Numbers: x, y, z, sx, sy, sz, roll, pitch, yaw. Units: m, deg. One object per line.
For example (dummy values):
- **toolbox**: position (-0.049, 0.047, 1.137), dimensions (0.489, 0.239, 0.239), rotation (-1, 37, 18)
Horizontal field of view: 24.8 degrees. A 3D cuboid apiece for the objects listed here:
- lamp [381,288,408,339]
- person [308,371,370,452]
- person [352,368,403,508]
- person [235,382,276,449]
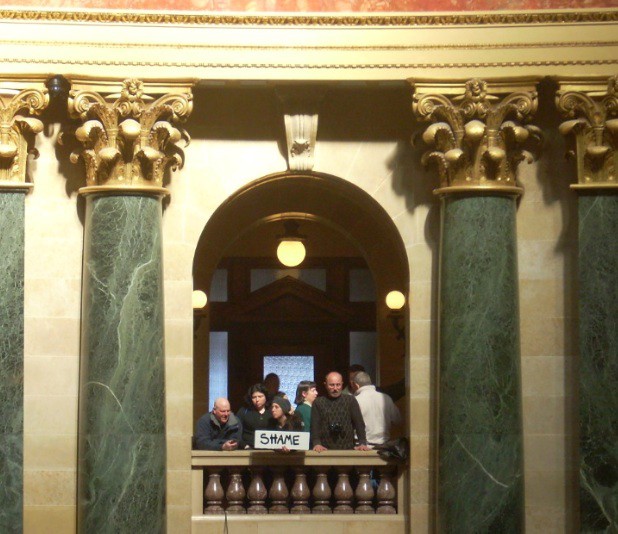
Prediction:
- **lamp**: position (1.263, 0.708, 20.323), dimensions (0.300, 0.694, 0.281), rotation (3, 6, 0)
- **person**: position (0.299, 1.765, 16.859), dimensions (0.616, 1.040, 0.529), rotation (-1, -21, -6)
- **person**: position (0.788, 2.064, 17.223), dimensions (0.575, 1.571, 0.454), rotation (-7, 14, -3)
- **person**: position (-0.650, 1.871, 17.185), dimensions (0.430, 0.804, 0.273), rotation (-2, 16, -11)
